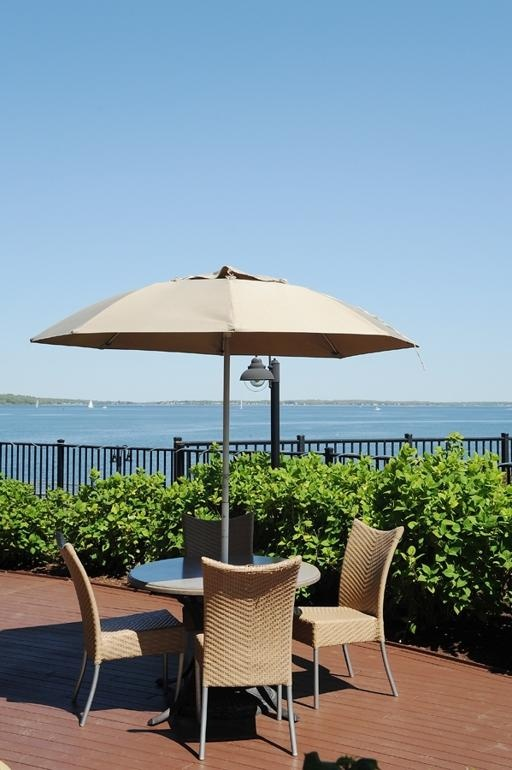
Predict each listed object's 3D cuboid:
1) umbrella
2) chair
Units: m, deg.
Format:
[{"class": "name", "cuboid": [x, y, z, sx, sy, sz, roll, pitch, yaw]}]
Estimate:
[{"class": "umbrella", "cuboid": [-0.100, -0.061, 4.699, 1.990, 1.596, 1.987, -1, -5, 7]}, {"class": "chair", "cuboid": [0.046, 1.279, 4.375, 1.351, 0.655, 1.357, 0, -3, 1]}]
